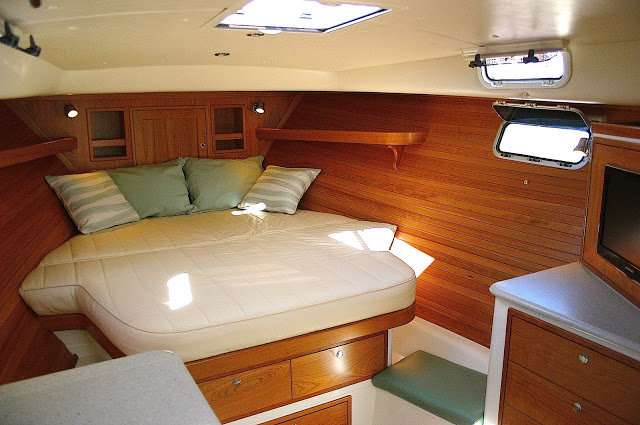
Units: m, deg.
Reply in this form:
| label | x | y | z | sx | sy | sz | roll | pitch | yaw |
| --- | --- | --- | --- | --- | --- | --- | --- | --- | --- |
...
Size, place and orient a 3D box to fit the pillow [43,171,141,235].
| label | x | y | z | sx | sy | sz | roll | pitch | yaw |
| --- | --- | --- | --- | --- | --- | --- | --- | --- | --- |
| pillow | -1.932 | -0.103 | 3.364 | 0.612 | 0.151 | 0.806 | -17 | 47 | -38 |

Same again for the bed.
| label | x | y | z | sx | sy | sz | roll | pitch | yaw |
| --- | --- | --- | --- | --- | --- | --- | --- | --- | --- |
| bed | -0.645 | 0.504 | 2.870 | 2.487 | 0.405 | 1.736 | 8 | 22 | 21 |

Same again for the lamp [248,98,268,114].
| label | x | y | z | sx | sy | sz | roll | pitch | yaw |
| --- | --- | --- | --- | --- | --- | --- | --- | --- | --- |
| lamp | -0.689 | -1.182 | 4.388 | 0.159 | 0.122 | 0.187 | 1 | 5 | -34 |

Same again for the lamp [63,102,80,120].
| label | x | y | z | sx | sy | sz | roll | pitch | yaw |
| --- | --- | --- | --- | --- | --- | --- | --- | --- | --- |
| lamp | -2.248 | -0.912 | 3.575 | 0.165 | 0.124 | 0.154 | -3 | 30 | -35 |

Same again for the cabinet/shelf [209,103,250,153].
| label | x | y | z | sx | sy | sz | roll | pitch | yaw |
| --- | --- | --- | --- | --- | --- | --- | --- | --- | --- |
| cabinet/shelf | -1.010 | -0.929 | 4.384 | 0.364 | 0.493 | 0.385 | -4 | 26 | -9 |

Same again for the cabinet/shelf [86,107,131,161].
| label | x | y | z | sx | sy | sz | roll | pitch | yaw |
| --- | --- | --- | --- | --- | --- | --- | --- | --- | --- |
| cabinet/shelf | -2.093 | -0.758 | 3.901 | 0.451 | 0.443 | 0.168 | -6 | 6 | -18 |
